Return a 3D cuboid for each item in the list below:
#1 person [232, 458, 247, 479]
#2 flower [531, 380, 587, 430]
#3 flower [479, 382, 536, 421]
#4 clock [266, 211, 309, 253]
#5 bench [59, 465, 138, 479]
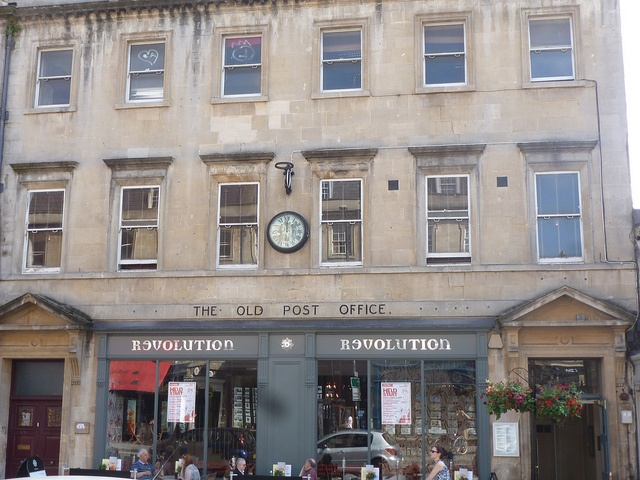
[{"bbox_3d":[-2.212,6.380,28.138,0.386,0.756,0.744,-2,-12,4],"label":"person"},{"bbox_3d":[6.391,4.421,27.518,1.099,1.136,1.065,-2,-8,34],"label":"flower"},{"bbox_3d":[5.136,4.245,27.823,1.321,1.106,1.334,-2,-4,38],"label":"flower"},{"bbox_3d":[-0.867,-0.213,29.970,0.815,0.829,0.105,-42,-6,3],"label":"clock"},{"bbox_3d":[-6.247,6.445,28.465,1.372,0.422,2.773,10,-20,-32],"label":"bench"}]
